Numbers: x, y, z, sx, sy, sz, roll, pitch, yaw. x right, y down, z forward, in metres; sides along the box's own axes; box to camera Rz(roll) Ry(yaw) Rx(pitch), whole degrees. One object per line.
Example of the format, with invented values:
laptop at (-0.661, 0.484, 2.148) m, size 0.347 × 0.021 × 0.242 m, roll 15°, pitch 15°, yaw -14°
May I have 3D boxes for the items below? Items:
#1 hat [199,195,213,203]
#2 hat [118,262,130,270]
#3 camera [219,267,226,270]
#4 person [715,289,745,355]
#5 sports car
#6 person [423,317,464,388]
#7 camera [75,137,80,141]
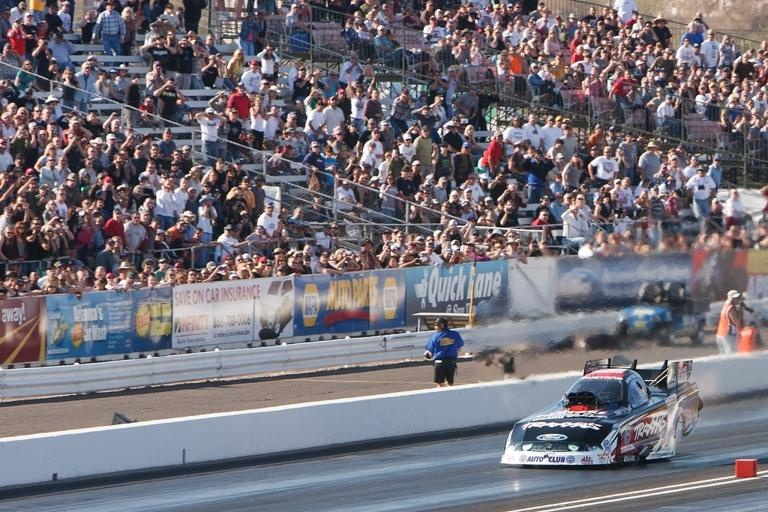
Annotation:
hat at (-4.366, -1.471, 58.705) m, size 0.344 × 0.195 × 0.391 m, roll -1°, pitch 5°, yaw 2°
hat at (-6.143, 0.180, 56.405) m, size 0.288 × 0.194 × 0.130 m, roll -1°, pitch 5°, yaw 0°
camera at (-3.878, 0.247, 57.648) m, size 0.163 × 0.080 × 0.030 m, roll -3°, pitch 5°, yaw -21°
person at (8.097, 1.555, 55.851) m, size 0.582 × 1.420 × 0.654 m, roll -3°, pitch -5°, yaw 42°
sports car at (4.922, 3.487, 52.661) m, size 4.613 × 2.020 × 1.741 m, roll -5°, pitch 6°, yaw -33°
person at (1.412, 2.230, 55.523) m, size 0.873 × 1.622 × 0.678 m, roll -2°, pitch 5°, yaw -6°
camera at (-7.511, -2.927, 58.380) m, size 0.092 × 0.032 × 0.090 m, roll 6°, pitch 32°, yaw 4°
